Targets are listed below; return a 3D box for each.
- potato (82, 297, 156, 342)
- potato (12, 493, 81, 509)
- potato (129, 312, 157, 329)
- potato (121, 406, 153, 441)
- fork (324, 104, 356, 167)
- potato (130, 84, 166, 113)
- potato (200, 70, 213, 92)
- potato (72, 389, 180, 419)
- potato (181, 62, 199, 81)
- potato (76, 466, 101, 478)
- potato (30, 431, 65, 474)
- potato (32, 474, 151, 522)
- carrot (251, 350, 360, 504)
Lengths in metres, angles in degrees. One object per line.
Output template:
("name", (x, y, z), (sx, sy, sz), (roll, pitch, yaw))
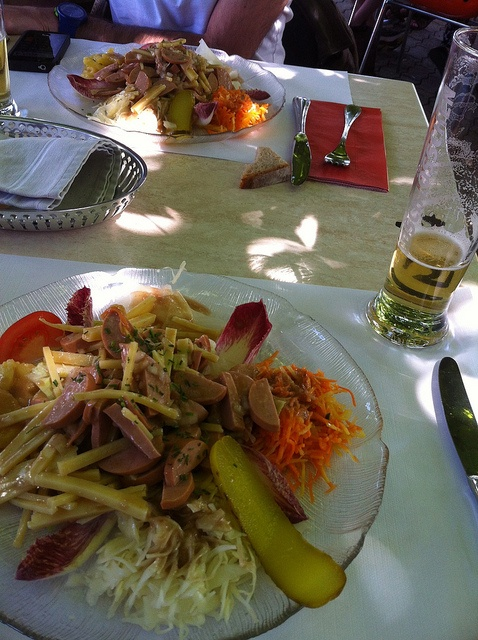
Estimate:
("potato", (-0.152, -0.001, 0.691), (0.071, 0.017, 0.066), (6, 36, 17))
("potato", (-0.213, 0.193, 0.527), (0.044, 0.026, 0.011), (9, 47, -8))
("potato", (-0.139, 0.003, 0.725), (0.020, 0.016, 0.060), (-13, 7, 26))
("potato", (-0.117, 0.119, 0.568), (0.012, 0.047, 0.014), (-37, 17, 18))
("fork", (0.326, -0.566, 1.525), (0.080, 0.277, 0.029), (17, 78, 7))
("potato", (-0.244, -0.589, 1.325), (0.112, 0.025, 0.027), (-43, 45, -19))
("potato", (-0.106, -0.698, 1.460), (0.023, 0.019, 0.078), (-19, 71, -28))
("potato", (-0.130, 0.100, 0.592), (0.118, 0.055, 0.023), (3, 49, -3))
("potato", (-0.138, -0.698, 1.399), (0.034, 0.020, 0.054), (-27, 71, -20))
("potato", (-0.170, 0.176, 0.562), (0.023, 0.011, 0.009), (6, 89, 1))
("potato", (-0.216, 0.150, 0.562), (0.016, 0.014, 0.047), (26, 39, 0))
("potato", (-0.164, 0.195, 0.538), (0.141, 0.030, 0.028), (12, 18, 6))
("carrot", (0.081, 0.155, 0.701), (0.161, 0.057, 0.145), (9, 52, -22))
